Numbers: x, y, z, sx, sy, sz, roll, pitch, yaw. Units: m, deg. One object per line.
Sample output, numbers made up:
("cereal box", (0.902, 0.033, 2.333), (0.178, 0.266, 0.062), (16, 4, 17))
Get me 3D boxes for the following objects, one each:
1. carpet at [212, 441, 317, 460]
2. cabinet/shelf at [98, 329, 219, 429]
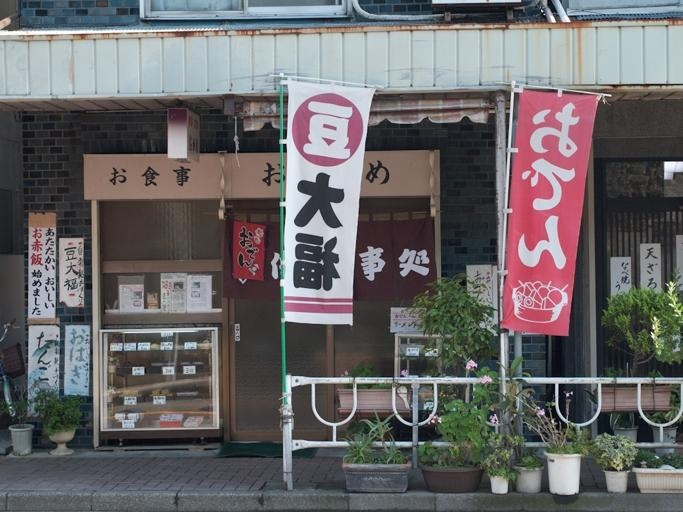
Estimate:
("carpet", (-1.033, 2.582, 21.427), (1.326, 0.155, 0.672), (-1, 0, 10))
("cabinet/shelf", (-2.441, 1.659, 22.240), (1.427, 1.411, 0.877), (1, 2, 4))
